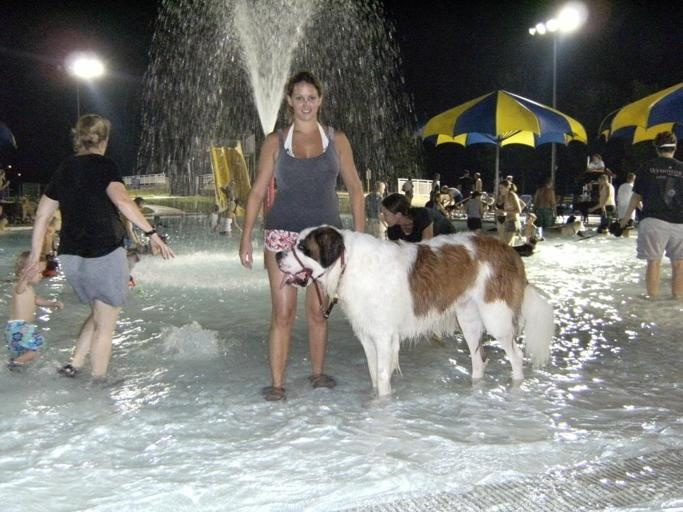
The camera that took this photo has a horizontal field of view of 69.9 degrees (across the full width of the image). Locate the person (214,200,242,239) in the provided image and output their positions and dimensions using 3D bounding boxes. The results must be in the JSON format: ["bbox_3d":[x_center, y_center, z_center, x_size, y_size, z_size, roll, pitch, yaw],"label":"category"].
[{"bbox_3d":[-4.375,-1.404,18.848,1.007,1.315,1.745,7,11,-11],"label":"person"}]

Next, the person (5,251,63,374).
[{"bbox_3d":[-3.540,0.685,5.633,0.596,1.451,0.703,-7,22,-33],"label":"person"}]

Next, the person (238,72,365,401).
[{"bbox_3d":[-0.351,-0.184,4.382,1.087,2.871,0.406,0,2,-13],"label":"person"}]

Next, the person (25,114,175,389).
[{"bbox_3d":[-2.274,-0.081,4.484,1.412,2.527,0.461,1,2,22],"label":"person"}]

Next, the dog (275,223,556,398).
[{"bbox_3d":[0.782,0.493,4.779,2.535,1.711,0.763,-3,11,-3],"label":"dog"}]

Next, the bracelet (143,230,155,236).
[{"bbox_3d":[-1.695,-0.206,4.301,0.067,0.037,0.095,-16,-2,-17],"label":"bracelet"}]

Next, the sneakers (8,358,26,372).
[{"bbox_3d":[-3.278,1.092,4.921,0.181,0.112,0.077,23,-6,10],"label":"sneakers"}]
